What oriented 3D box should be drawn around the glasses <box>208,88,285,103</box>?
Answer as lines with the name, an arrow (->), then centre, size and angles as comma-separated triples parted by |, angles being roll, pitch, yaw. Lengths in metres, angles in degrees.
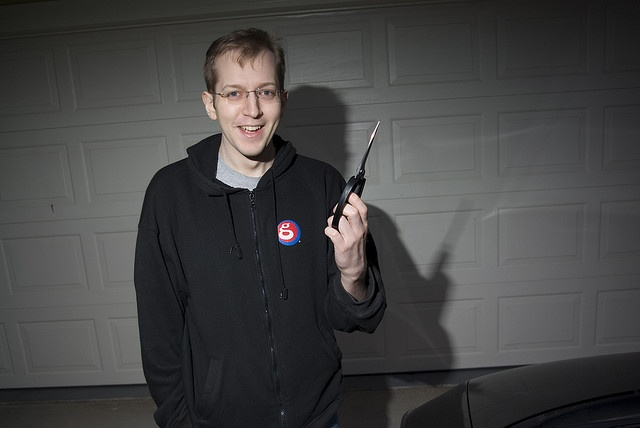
glasses -> -0.437, -0.712, 3.326 | 0.426, 0.071, 0.113 | -3, 8, -7
